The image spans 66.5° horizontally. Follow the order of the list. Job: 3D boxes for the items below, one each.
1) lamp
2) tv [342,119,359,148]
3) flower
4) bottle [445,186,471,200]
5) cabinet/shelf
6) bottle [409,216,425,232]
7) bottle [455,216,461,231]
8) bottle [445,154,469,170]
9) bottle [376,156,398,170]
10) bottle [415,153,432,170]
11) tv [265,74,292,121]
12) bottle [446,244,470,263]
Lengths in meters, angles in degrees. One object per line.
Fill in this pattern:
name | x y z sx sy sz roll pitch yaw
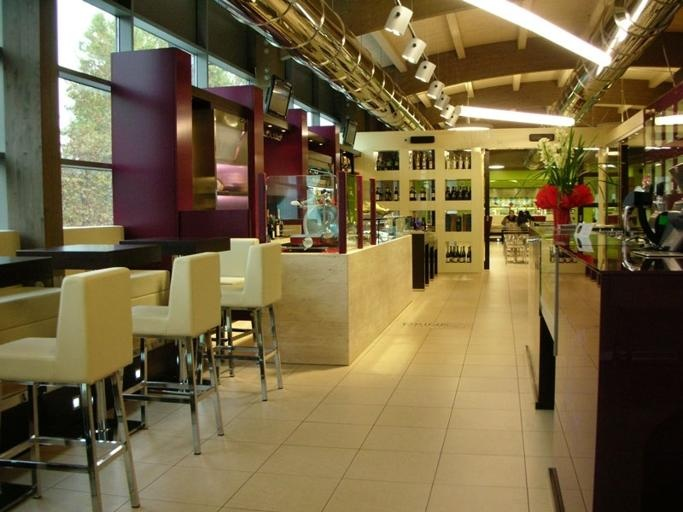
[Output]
lamp | 1.509 -3.661 9.916 0.493 0.618 3.613 1 -30 30
tv | 0.194 -2.870 12.202 0.224 0.576 0.615 10 12 12
flower | 2.010 -0.797 4.708 0.456 0.750 0.881 2 7 25
bottle | 2.697 -1.460 12.087 0.574 0.308 0.067 0 6 14
cabinet/shelf | 2.165 -1.127 12.259 2.245 2.953 0.613 2 7 24
bottle | 1.628 -0.717 11.404 0.321 0.404 1.006 -1 -5 9
bottle | 2.697 -0.736 12.047 0.135 0.305 0.077 0 6 12
bottle | 2.678 -2.221 12.122 0.622 0.355 0.450 -1 13 19
bottle | 1.110 -2.238 12.548 0.578 0.400 0.322 0 -3 21
bottle | 1.938 -2.240 12.290 0.395 0.411 0.095 1 0 10
tv | -1.018 -2.553 8.337 0.194 0.629 0.575 2 7 29
bottle | 2.705 -0.073 12.072 0.390 0.377 0.092 2 5 15
